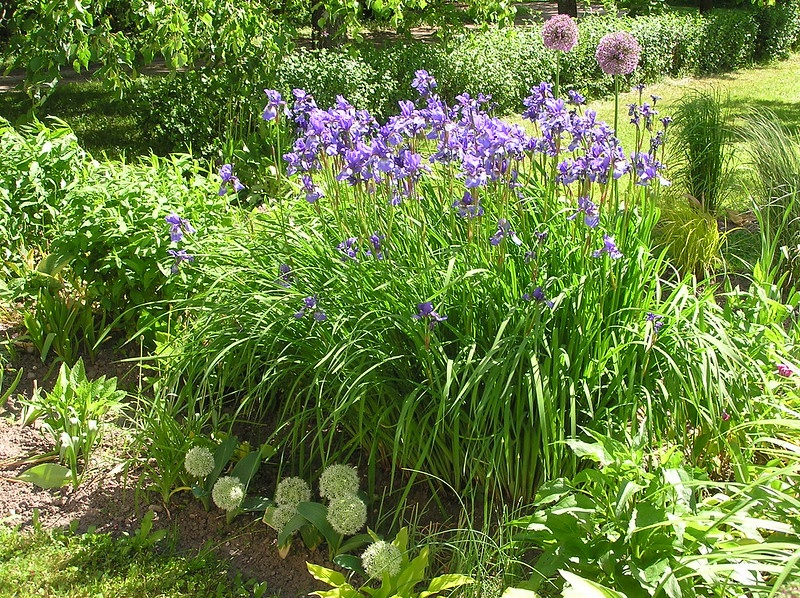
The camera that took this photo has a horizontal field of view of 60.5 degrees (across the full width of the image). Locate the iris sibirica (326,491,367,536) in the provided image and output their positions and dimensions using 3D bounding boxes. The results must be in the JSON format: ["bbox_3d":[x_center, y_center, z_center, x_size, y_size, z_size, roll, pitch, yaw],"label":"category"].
[{"bbox_3d":[-0.241,0.962,3.083,0.153,0.164,0.177,16,46,-23],"label":"iris sibirica"}]

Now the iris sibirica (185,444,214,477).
[{"bbox_3d":[-0.952,0.788,3.315,0.126,0.131,0.142,-22,44,40],"label":"iris sibirica"}]

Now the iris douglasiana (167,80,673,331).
[{"bbox_3d":[0.320,-0.548,3.372,1.823,1.068,1.178,-3,25,-7],"label":"iris douglasiana"}]

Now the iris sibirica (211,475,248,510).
[{"bbox_3d":[-0.801,0.911,3.213,0.143,0.113,0.106,-6,25,-12],"label":"iris sibirica"}]

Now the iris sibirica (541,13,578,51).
[{"bbox_3d":[0.795,-1.347,3.517,0.174,0.213,0.196,5,12,27],"label":"iris sibirica"}]

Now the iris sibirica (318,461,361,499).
[{"bbox_3d":[-0.279,0.831,3.144,0.144,0.171,0.161,-4,29,-6],"label":"iris sibirica"}]

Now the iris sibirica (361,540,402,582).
[{"bbox_3d":[-0.077,1.094,2.887,0.151,0.122,0.154,17,30,32],"label":"iris sibirica"}]
